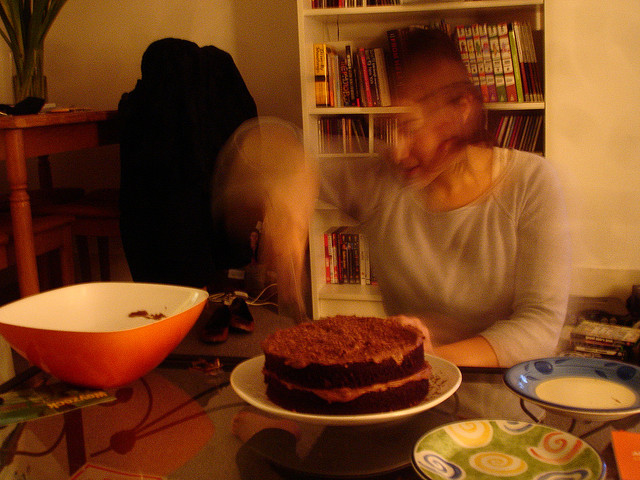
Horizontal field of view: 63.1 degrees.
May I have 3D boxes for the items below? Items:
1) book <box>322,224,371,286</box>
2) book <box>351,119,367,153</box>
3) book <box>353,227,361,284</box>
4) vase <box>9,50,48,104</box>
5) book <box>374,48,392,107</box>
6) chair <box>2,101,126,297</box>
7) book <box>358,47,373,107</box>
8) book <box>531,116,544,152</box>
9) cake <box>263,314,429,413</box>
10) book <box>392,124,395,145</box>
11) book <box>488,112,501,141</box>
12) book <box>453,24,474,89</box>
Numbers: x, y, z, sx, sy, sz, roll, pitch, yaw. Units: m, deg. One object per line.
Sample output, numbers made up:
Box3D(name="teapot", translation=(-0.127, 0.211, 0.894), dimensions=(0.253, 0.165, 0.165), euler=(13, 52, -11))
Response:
Box3D(name="book", translation=(0.123, 0.122, 2.473), dimensions=(0.229, 0.236, 0.175), euler=(2, -21, -8))
Box3D(name="book", translation=(0.169, -0.446, 2.225), dimensions=(0.039, 0.134, 0.120), euler=(-5, 12, -6))
Box3D(name="book", translation=(0.171, 0.089, 2.385), dimensions=(0.034, 0.236, 0.016), euler=(-2, 12, 10))
Box3D(name="vase", translation=(-1.269, -0.716, 2.269), dimensions=(0.148, 0.217, 0.168), euler=(-9, 13, -23))
Box3D(name="book", translation=(0.266, -0.676, 2.170), dimensions=(0.063, 0.230, 0.025), euler=(-3, 12, 8))
Box3D(name="chair", translation=(-1.043, -0.157, 2.255), dimensions=(0.474, 0.826, 0.797), euler=(-9, 13, -23))
Box3D(name="book", translation=(0.193, -0.678, 2.184), dimensions=(0.050, 0.232, 0.021), euler=(-3, 12, 6))
Box3D(name="book", translation=(0.858, -0.419, 2.053), dimensions=(0.060, 0.132, 0.017), euler=(-14, 15, -38))
Box3D(name="cake", translation=(0.040, 0.201, 0.851), dimensions=(0.255, 0.089, 0.264), euler=(0, 3, 28))
Box3D(name="book", translation=(0.296, -0.426, 2.078), dimensions=(0.012, 0.069, 0.050), euler=(-3, 12, 7))
Box3D(name="book", translation=(0.711, -0.472, 2.117), dimensions=(0.052, 0.093, 0.037), euler=(-5, 12, -6))
Box3D(name="book", translation=(0.556, -0.733, 2.019), dimensions=(0.071, 0.225, 0.247), euler=(-1, 13, 15))
